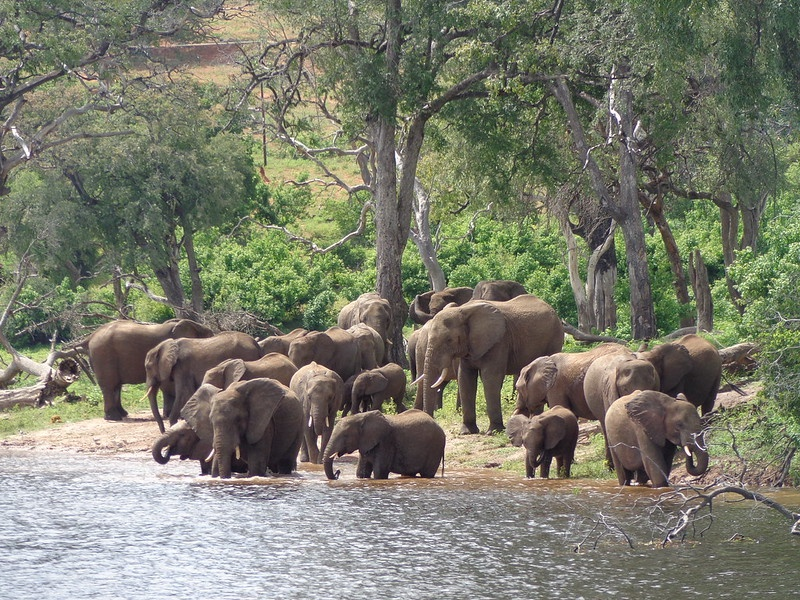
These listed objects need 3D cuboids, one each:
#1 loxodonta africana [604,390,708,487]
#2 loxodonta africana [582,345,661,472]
[{"bbox_3d":[4.954,2.809,28.358,1.598,2.099,2.372,-6,1,-43],"label":"loxodonta africana"},{"bbox_3d":[4.660,2.396,29.831,1.478,2.412,3.508,-5,-9,-8],"label":"loxodonta africana"}]
